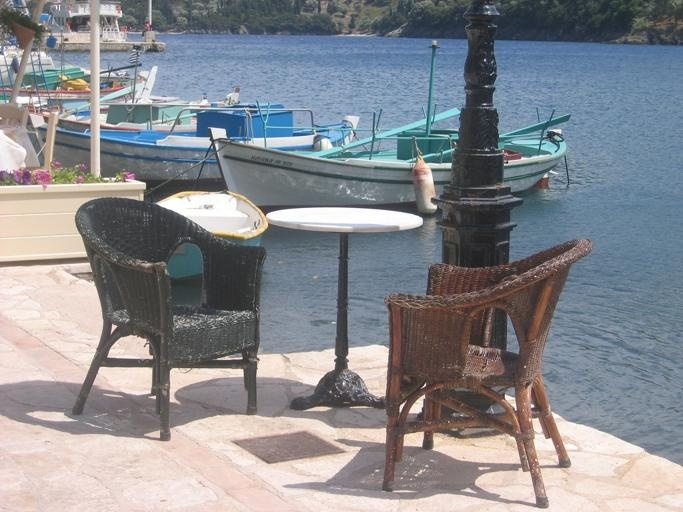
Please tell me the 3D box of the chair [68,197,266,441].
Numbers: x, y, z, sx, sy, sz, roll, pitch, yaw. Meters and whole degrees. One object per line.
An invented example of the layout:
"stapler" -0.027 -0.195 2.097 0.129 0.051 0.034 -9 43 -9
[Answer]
"chair" -1.338 0.428 8.913 1.267 1.598 1.090 14 19 36

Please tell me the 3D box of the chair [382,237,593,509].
"chair" 1.078 0.687 9.228 2.319 1.962 1.988 2 1 8
